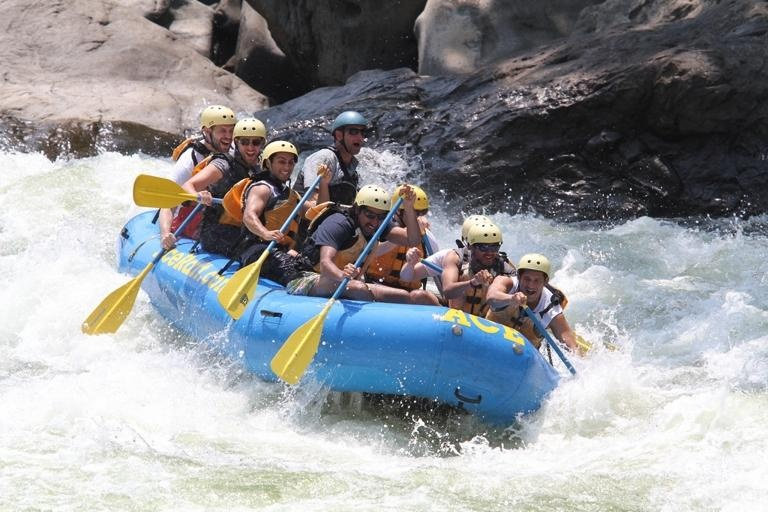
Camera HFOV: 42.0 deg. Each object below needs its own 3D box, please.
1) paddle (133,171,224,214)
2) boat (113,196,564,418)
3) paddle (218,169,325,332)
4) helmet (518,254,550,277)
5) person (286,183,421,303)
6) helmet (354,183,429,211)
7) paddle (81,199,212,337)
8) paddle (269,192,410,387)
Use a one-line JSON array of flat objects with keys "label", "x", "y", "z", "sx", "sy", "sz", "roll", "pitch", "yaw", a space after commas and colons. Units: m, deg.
[{"label": "paddle", "x": -2.240, "y": -0.679, "z": 11.056, "sx": 1.132, "sy": 0.343, "sz": 0.102, "roll": 9, "pitch": 7, "yaw": 14}, {"label": "boat", "x": -0.709, "y": 0.678, "z": 10.547, "sx": 3.782, "sy": 0.693, "sz": 1.871, "roll": 20, "pitch": 5, "yaw": 34}, {"label": "paddle", "x": -1.223, "y": -0.011, "z": 10.779, "sx": 0.493, "sy": 2.272, "sz": 0.109, "roll": 44, "pitch": -32, "yaw": -5}, {"label": "helmet", "x": 1.565, "y": 0.070, "z": 10.471, "sx": 0.234, "sy": 0.215, "sz": 0.290, "roll": 14, "pitch": -29, "yaw": -2}, {"label": "person", "x": -0.239, "y": -0.099, "z": 10.677, "sx": 1.747, "sy": 1.232, "sz": 1.202, "roll": 5, "pitch": 4, "yaw": 25}, {"label": "helmet", "x": 0.058, "y": -0.627, "z": 10.757, "sx": 0.584, "sy": 0.171, "sz": 0.393, "roll": -2, "pitch": 9, "yaw": -24}, {"label": "paddle", "x": -2.716, "y": 0.180, "z": 11.600, "sx": 0.395, "sy": 2.278, "sz": 0.098, "roll": 45, "pitch": -12, "yaw": -2}, {"label": "paddle", "x": -0.591, "y": 0.469, "z": 10.308, "sx": 0.371, "sy": 1.572, "sz": 1.217, "roll": 19, "pitch": 17, "yaw": 28}]
